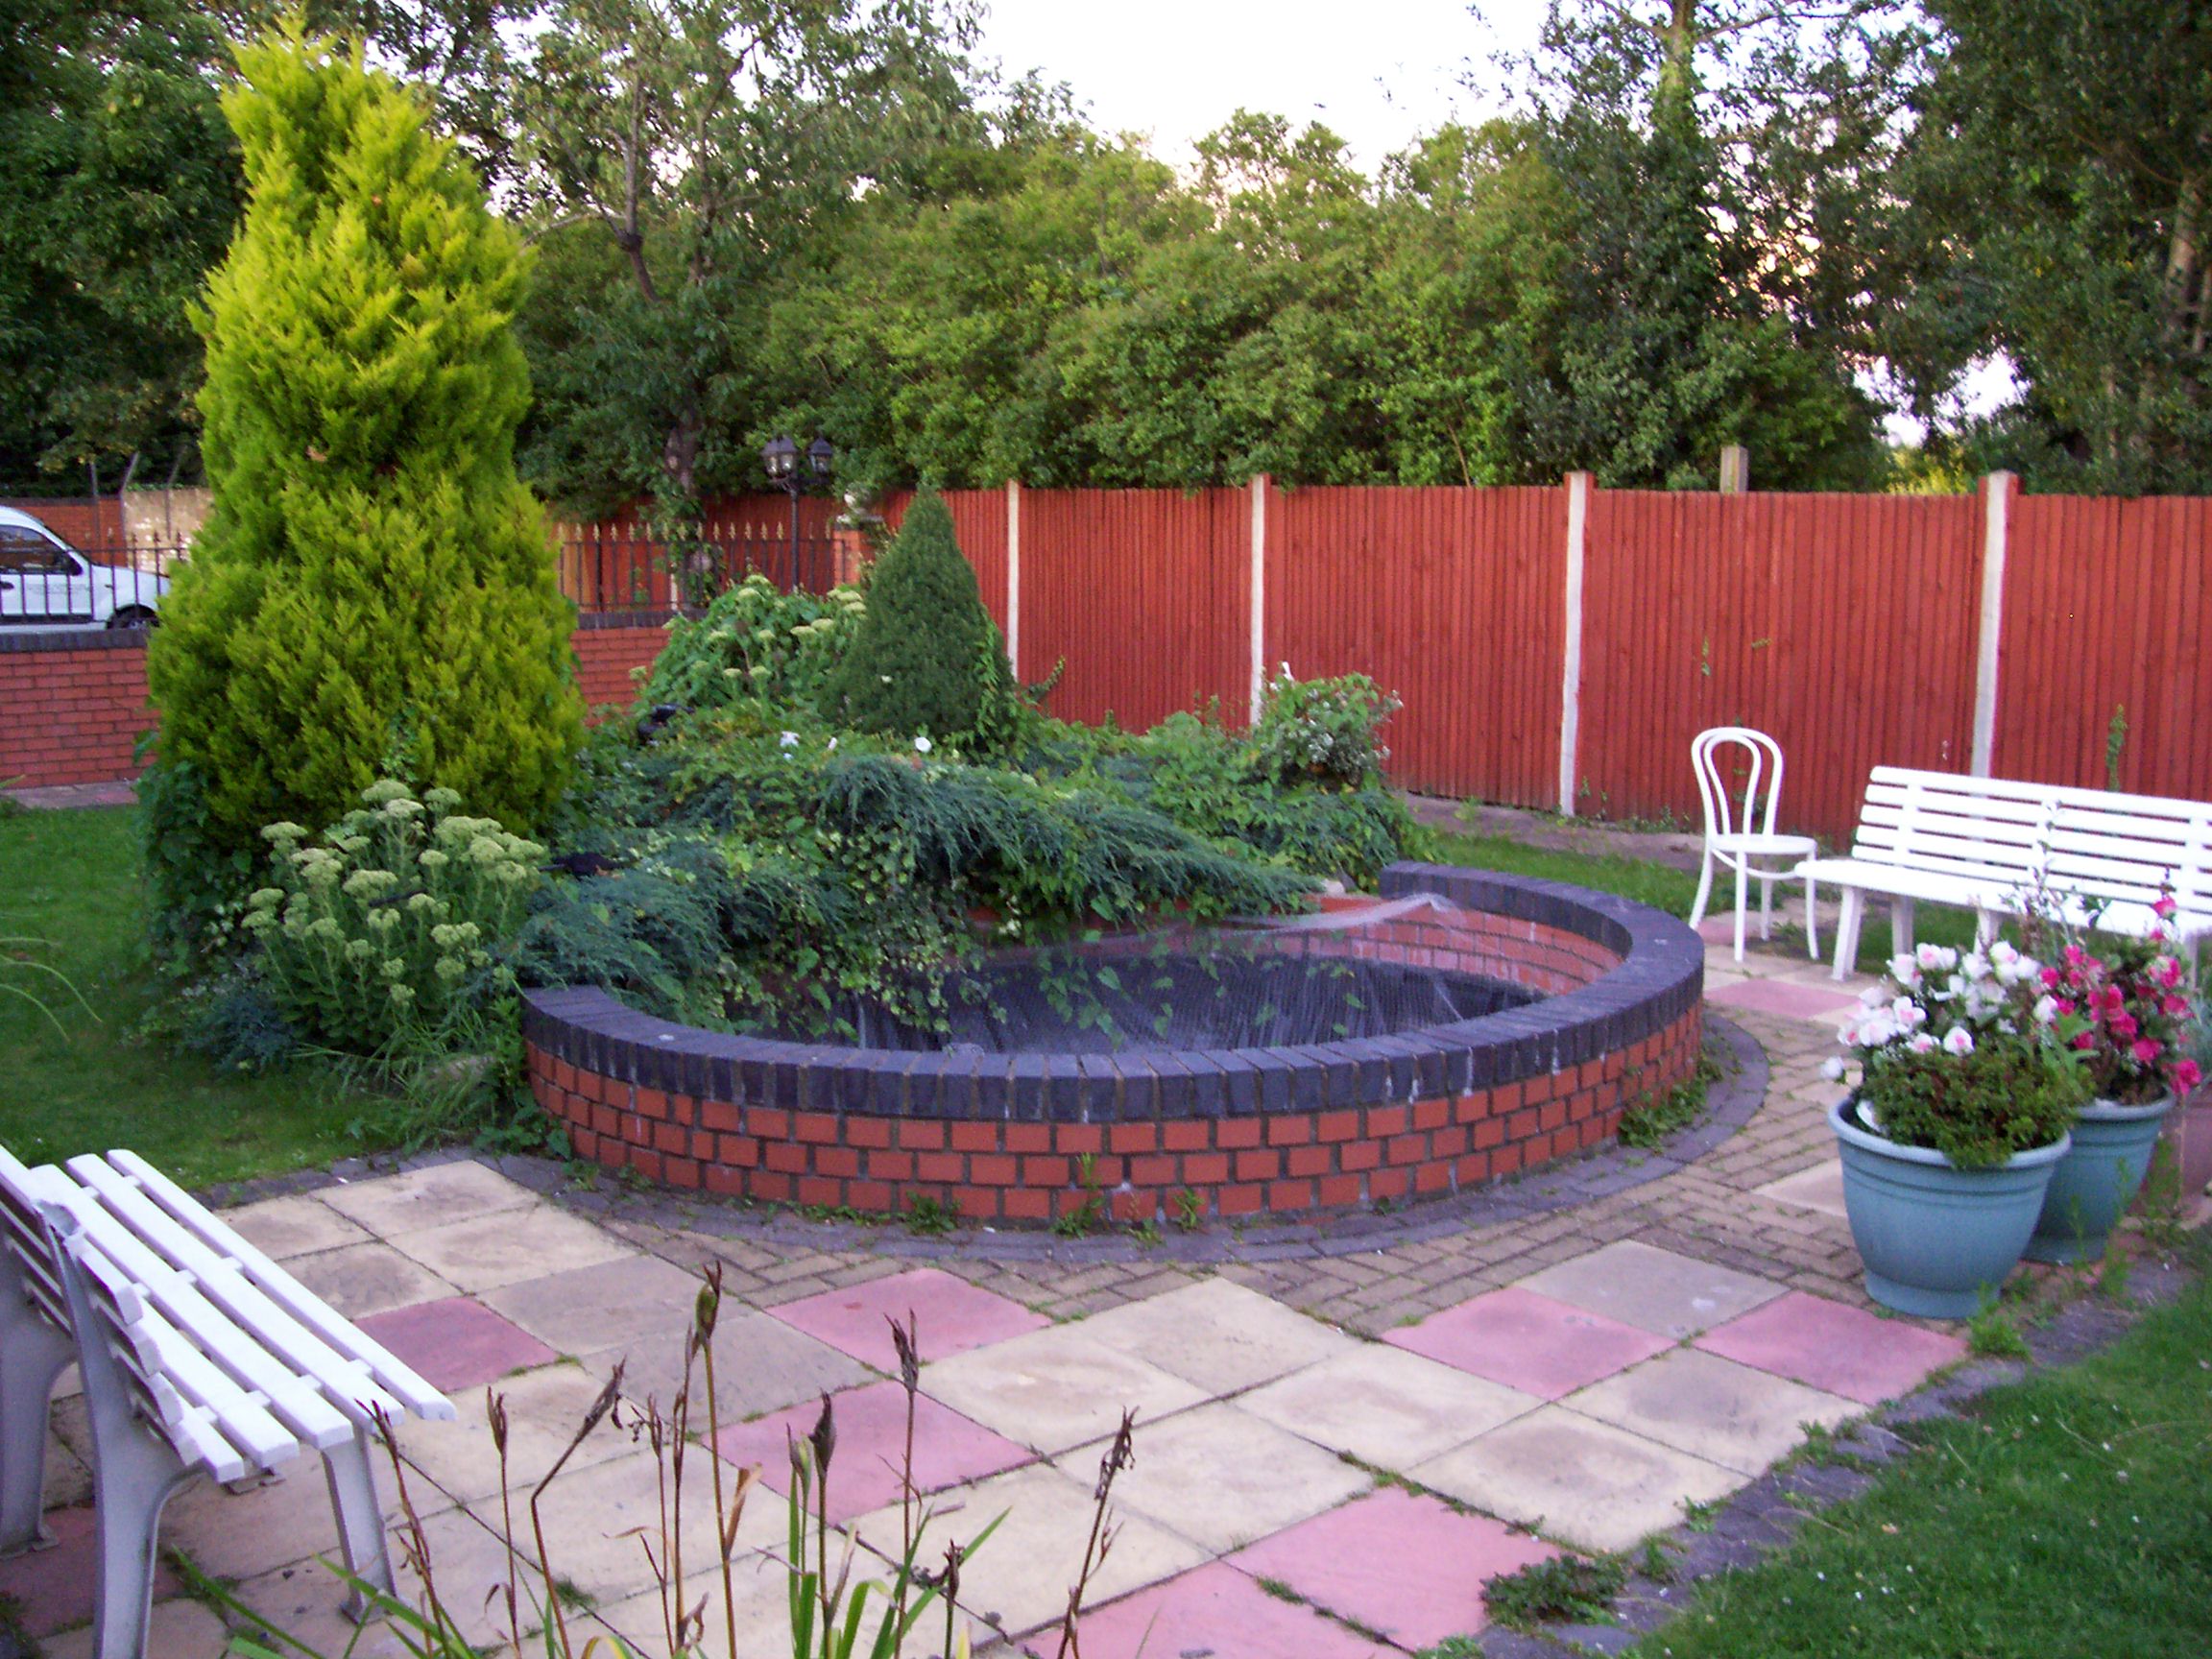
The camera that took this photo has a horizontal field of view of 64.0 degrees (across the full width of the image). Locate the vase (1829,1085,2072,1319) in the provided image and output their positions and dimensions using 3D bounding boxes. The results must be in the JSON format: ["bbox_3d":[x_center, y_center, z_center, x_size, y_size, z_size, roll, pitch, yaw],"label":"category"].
[{"bbox_3d":[2.547,1.156,5.373,0.538,0.462,0.567,-2,6,-26],"label":"vase"}]

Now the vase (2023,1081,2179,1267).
[{"bbox_3d":[3.225,1.075,5.742,0.434,0.417,0.490,-1,0,-2],"label":"vase"}]

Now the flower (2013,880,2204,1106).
[{"bbox_3d":[3.435,0.569,6.050,0.568,0.865,0.578,-3,5,-5],"label":"flower"}]

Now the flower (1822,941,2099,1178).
[{"bbox_3d":[2.668,0.642,5.483,0.532,0.545,0.727,-2,33,21],"label":"flower"}]
